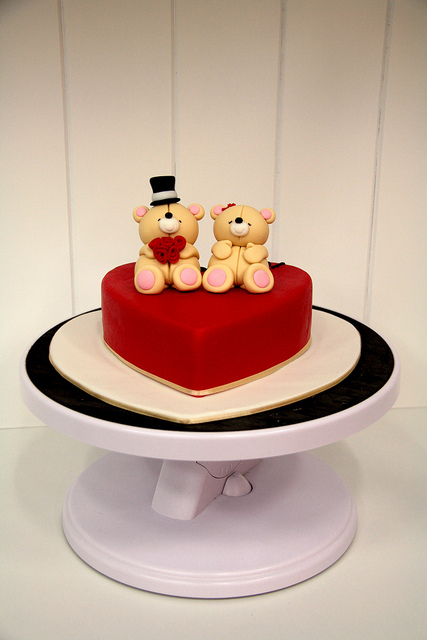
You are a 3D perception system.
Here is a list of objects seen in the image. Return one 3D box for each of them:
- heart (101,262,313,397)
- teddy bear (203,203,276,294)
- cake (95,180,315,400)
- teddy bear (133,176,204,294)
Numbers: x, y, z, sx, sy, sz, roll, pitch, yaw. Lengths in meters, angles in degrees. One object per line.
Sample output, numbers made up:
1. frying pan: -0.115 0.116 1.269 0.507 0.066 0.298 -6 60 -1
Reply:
1. heart: 0.003 0.005 1.021 0.371 0.115 0.343 -3 17 -10
2. teddy bear: 0.042 -0.113 1.025 0.152 0.177 0.147 2 1 5
3. cake: -0.003 -0.086 1.024 0.374 0.262 0.348 -6 29 -12
4. teddy bear: -0.079 -0.120 1.038 0.111 0.208 0.101 -23 42 -33
